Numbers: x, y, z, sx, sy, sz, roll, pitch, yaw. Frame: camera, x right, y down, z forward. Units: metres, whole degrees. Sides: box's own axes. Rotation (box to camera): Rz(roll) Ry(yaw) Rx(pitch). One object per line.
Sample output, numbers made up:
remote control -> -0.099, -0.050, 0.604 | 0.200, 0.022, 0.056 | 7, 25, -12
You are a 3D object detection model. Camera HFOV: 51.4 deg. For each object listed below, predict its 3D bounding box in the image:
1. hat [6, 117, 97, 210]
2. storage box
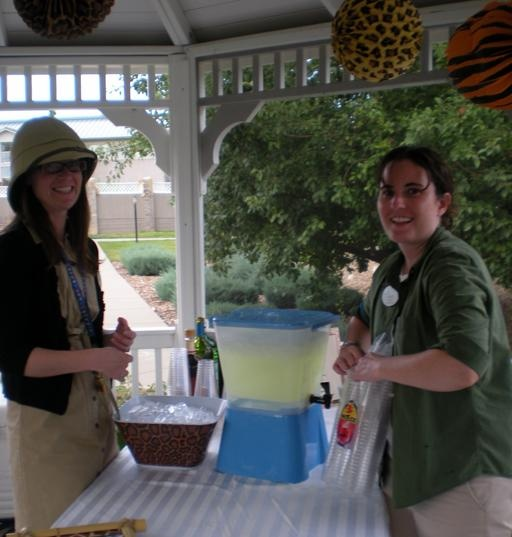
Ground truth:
hat -> -0.574, -0.282, 1.515 | 0.204, 0.162, 0.272 | -10, -9, -17
storage box -> 0.057, 0.230, 1.415 | 0.281, 0.241, 0.289 | 0, 0, 21
